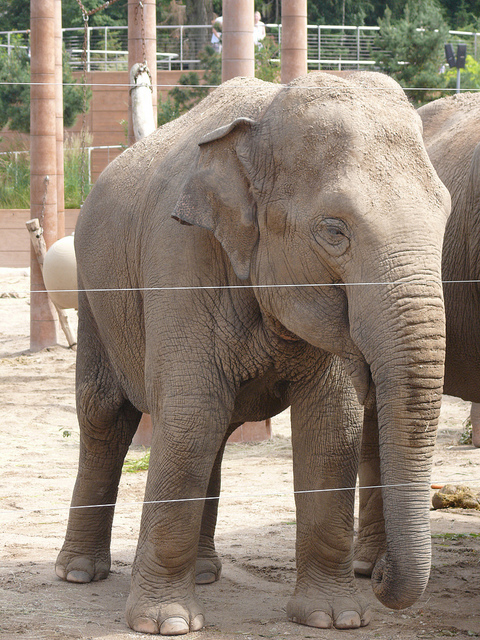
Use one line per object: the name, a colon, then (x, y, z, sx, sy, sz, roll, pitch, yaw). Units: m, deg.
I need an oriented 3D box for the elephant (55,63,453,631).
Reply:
elephant: (0.008, 0.101, 3.927, 0.704, 1.643, 1.547, -2, 6, -26)
